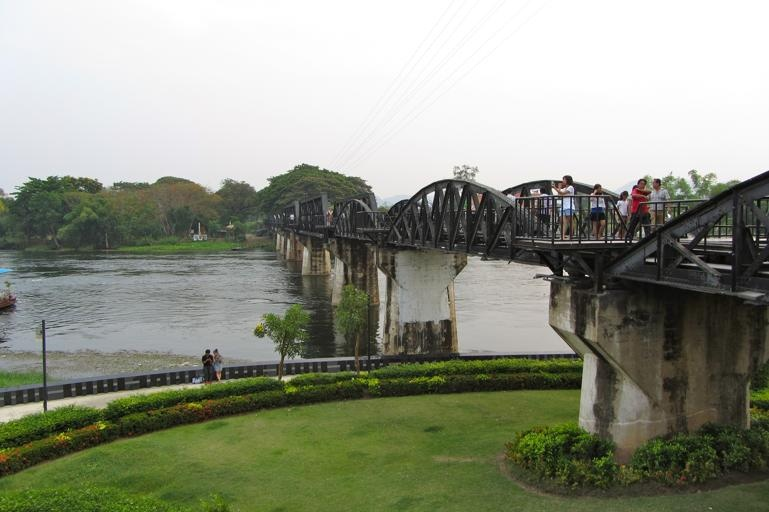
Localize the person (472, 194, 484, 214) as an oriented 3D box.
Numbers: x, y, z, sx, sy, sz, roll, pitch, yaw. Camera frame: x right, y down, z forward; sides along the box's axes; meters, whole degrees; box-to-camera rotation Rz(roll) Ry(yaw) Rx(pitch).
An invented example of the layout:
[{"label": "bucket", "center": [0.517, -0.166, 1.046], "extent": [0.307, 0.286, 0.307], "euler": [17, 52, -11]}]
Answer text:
[{"label": "person", "center": [4.932, -2.701, 32.808], "extent": [0.379, 0.252, 1.445], "euler": [13, 22, 1]}]
